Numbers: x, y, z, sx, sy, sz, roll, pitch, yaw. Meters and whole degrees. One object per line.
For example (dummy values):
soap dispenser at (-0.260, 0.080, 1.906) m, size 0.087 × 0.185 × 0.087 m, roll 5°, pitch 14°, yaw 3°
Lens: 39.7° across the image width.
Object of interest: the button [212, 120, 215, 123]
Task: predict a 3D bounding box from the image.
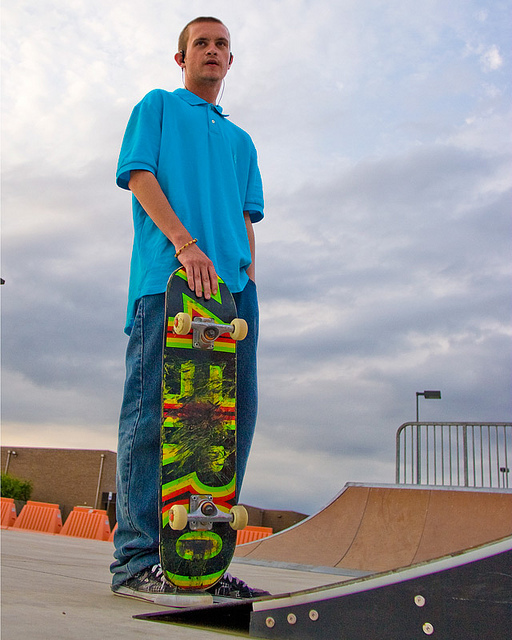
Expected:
button at (-0.193, -0.887, 3.160) m, size 0.011 × 0.017 × 0.006 m, roll 12°, pitch -16°, yaw -36°

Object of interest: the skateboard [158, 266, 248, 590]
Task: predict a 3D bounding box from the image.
skateboard at (-0.218, 0.351, 2.596) m, size 0.328 × 1.140 × 0.178 m, roll 4°, pitch -2°, yaw -21°

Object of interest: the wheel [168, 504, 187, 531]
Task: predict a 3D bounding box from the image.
wheel at (-0.267, 0.665, 2.382) m, size 0.041 × 0.098 × 0.108 m, roll 4°, pitch -2°, yaw -29°

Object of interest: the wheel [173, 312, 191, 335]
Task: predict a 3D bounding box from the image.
wheel at (-0.273, 0.008, 2.597) m, size 0.065 × 0.081 × 0.089 m, roll 4°, pitch -12°, yaw -8°

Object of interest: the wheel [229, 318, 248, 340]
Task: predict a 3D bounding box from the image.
wheel at (-0.073, 0.035, 2.739) m, size 0.064 × 0.080 × 0.083 m, roll 3°, pitch -12°, yaw -5°

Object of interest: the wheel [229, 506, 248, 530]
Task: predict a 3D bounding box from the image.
wheel at (-0.068, 0.715, 2.570) m, size 0.065 × 0.085 × 0.172 m, roll 2°, pitch -11°, yaw -1°
